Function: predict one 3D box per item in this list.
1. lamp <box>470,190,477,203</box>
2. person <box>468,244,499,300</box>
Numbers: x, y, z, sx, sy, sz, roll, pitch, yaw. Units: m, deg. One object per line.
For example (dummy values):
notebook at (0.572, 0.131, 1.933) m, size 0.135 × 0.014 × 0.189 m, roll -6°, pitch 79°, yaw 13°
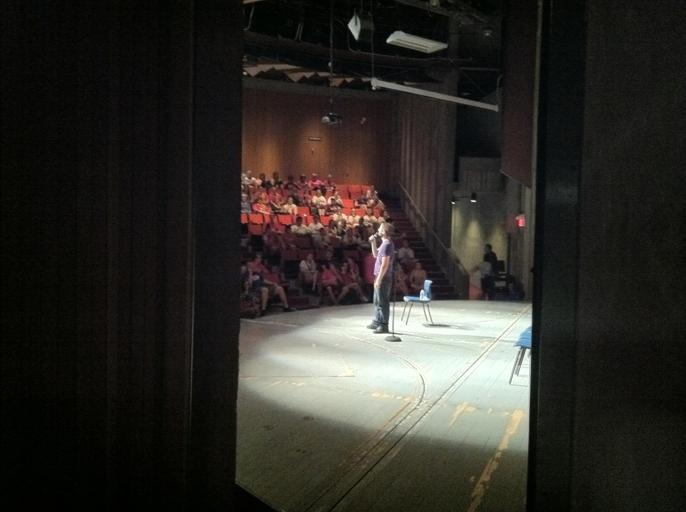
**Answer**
lamp at (3.528, -1.578, 15.358) m, size 0.199 × 0.277 × 0.529 m, roll 1°, pitch 3°, yaw 12°
person at (3.142, 0.345, 12.436) m, size 0.474 × 1.125 × 1.540 m, roll 1°, pitch 3°, yaw 15°
